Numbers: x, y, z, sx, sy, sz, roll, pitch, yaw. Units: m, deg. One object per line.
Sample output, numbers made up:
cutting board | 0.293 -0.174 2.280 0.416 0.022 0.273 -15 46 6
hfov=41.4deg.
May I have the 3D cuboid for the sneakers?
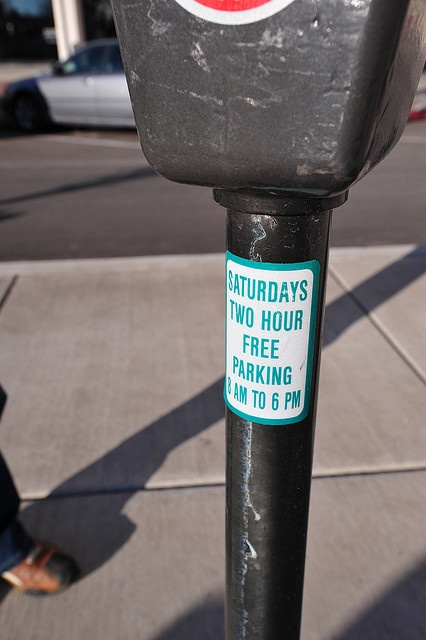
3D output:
sneakers | -0.496 0.745 1.685 0.124 0.073 0.209 41 17 32
